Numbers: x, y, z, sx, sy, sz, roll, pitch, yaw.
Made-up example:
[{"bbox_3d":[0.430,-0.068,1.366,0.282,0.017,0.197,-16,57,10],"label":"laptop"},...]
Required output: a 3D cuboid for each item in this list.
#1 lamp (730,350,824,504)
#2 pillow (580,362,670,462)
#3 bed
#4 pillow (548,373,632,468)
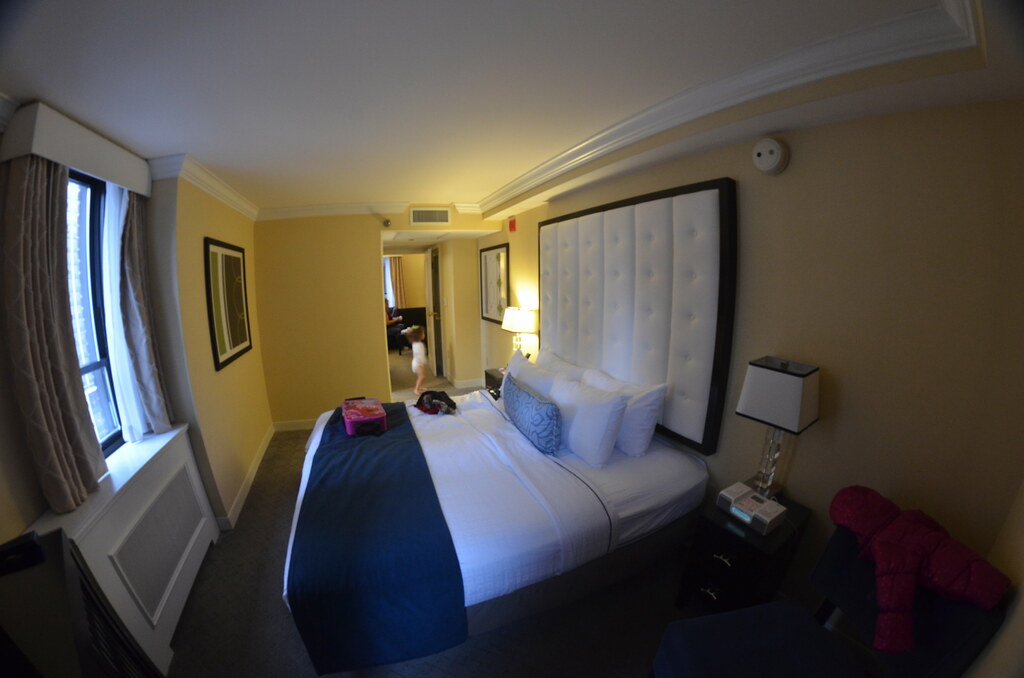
[{"bbox_3d":[1.450,0.500,3.350,0.379,0.772,0.261,5,11,36],"label":"lamp"},{"bbox_3d":[0.646,0.518,3.850,0.189,0.383,0.499,5,-9,32],"label":"pillow"},{"bbox_3d":[-0.247,1.064,3.416,1.474,0.406,1.646,-9,19,-11],"label":"bed"},{"bbox_3d":[0.492,0.542,3.857,0.184,0.383,0.497,-12,8,-24],"label":"pillow"}]
